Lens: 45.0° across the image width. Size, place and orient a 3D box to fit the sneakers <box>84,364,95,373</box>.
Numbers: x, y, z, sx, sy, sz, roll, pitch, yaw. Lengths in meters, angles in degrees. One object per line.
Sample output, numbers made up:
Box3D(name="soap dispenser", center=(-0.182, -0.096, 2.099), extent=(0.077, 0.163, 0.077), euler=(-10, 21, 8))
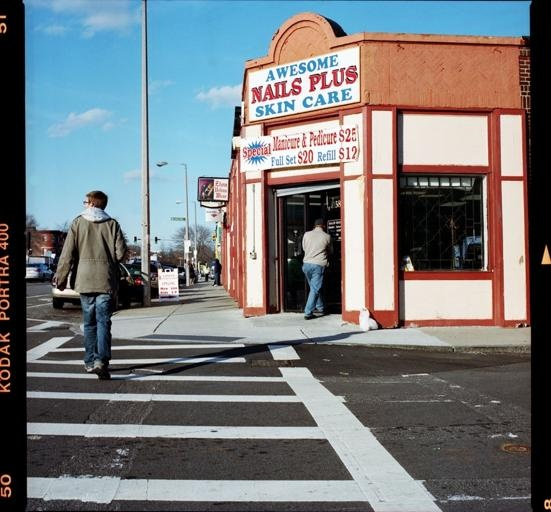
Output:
Box3D(name="sneakers", center=(-2.146, 1.272, 7.623), extent=(0.102, 0.147, 0.316), euler=(2, -7, -17))

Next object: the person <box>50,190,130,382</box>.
Box3D(name="person", center=(-2.119, 0.295, 7.661), extent=(0.740, 2.165, 0.701), euler=(0, 0, 31))

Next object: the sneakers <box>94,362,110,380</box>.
Box3D(name="sneakers", center=(-1.939, 1.269, 7.425), extent=(0.169, 0.204, 0.181), euler=(0, 0, -16))
